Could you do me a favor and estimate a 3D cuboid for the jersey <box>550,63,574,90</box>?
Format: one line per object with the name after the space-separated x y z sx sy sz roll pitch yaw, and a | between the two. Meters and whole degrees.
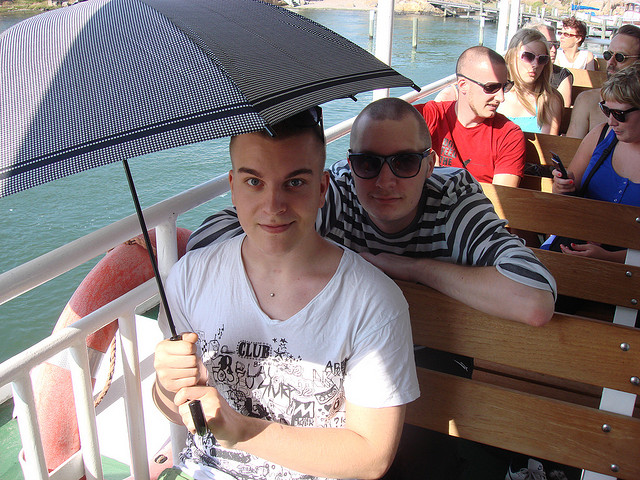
2.572 -1.746 5.138 0.171 0.200 0.594 10 28 22 | jersey

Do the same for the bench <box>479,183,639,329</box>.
1.037 0.073 2.056 0.589 0.380 0.211 22 25 31 | bench

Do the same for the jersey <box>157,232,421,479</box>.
-0.091 0.315 1.289 0.639 0.631 0.367 10 9 8 | jersey

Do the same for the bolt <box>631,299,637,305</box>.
1.400 0.271 2.141 0.023 0.025 0.006 -1 -1 29 | bolt

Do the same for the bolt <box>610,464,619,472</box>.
0.856 0.657 1.397 0.016 0.020 0.017 3 4 3 | bolt

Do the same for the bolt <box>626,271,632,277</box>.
1.364 0.147 2.120 0.021 0.022 0.005 -3 9 25 | bolt

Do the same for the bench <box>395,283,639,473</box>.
0.648 0.461 1.642 0.748 0.662 0.566 3 26 9 | bench
